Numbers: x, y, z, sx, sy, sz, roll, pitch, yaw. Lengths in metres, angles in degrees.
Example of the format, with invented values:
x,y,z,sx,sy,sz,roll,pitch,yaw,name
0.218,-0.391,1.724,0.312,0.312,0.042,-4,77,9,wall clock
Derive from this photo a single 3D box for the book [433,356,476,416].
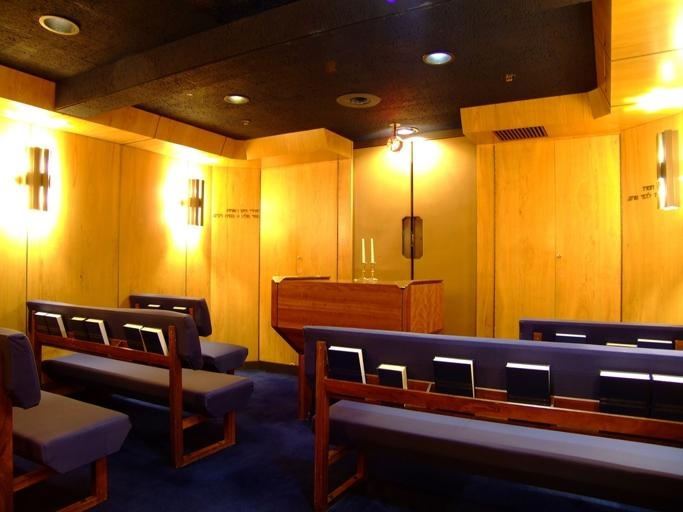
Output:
x,y,z,sx,sy,sz,roll,pitch,yaw,name
0.715,0.769,3.376,0.247,0.238,0.056,2,5,17,book

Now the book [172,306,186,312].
x,y,z,sx,sy,sz,roll,pitch,yaw,name
-1.786,0.591,5.921,0.105,0.075,0.026,3,-12,25,book

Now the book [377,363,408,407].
x,y,z,sx,sy,sz,roll,pitch,yaw,name
0.344,0.839,3.521,0.287,0.266,0.097,2,8,27,book

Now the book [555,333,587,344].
x,y,z,sx,sy,sz,roll,pitch,yaw,name
1.829,0.652,4.235,0.168,0.041,0.157,-1,-3,32,book

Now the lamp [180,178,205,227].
x,y,z,sx,sy,sz,roll,pitch,yaw,name
-2.074,-0.749,7.534,0.378,0.685,0.245,-3,6,-30,lamp

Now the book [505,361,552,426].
x,y,z,sx,sy,sz,roll,pitch,yaw,name
1.141,0.818,3.232,0.390,0.365,0.138,1,6,31,book

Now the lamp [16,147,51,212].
x,y,z,sx,sy,sz,roll,pitch,yaw,name
-3.379,-0.844,5.852,0.331,0.683,0.129,-3,6,-30,lamp

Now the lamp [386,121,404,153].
x,y,z,sx,sy,sz,roll,pitch,yaw,name
0.713,-1.527,6.945,0.159,0.362,0.610,1,5,7,lamp

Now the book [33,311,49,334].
x,y,z,sx,sy,sz,roll,pitch,yaw,name
-2.970,0.652,5.290,0.221,0.207,0.079,3,11,31,book

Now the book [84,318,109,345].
x,y,z,sx,sy,sz,roll,pitch,yaw,name
-2.167,0.665,4.767,0.227,0.215,0.054,3,10,27,book

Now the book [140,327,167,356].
x,y,z,sx,sy,sz,roll,pitch,yaw,name
-1.556,0.709,4.446,0.225,0.211,0.054,4,10,28,book

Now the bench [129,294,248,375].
x,y,z,sx,sy,sz,roll,pitch,yaw,name
-1.685,0.813,5.973,1.522,1.078,0.877,2,0,28,bench

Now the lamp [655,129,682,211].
x,y,z,sx,sy,sz,roll,pitch,yaw,name
3.178,-0.838,5.179,0.199,0.735,0.151,3,6,29,lamp
